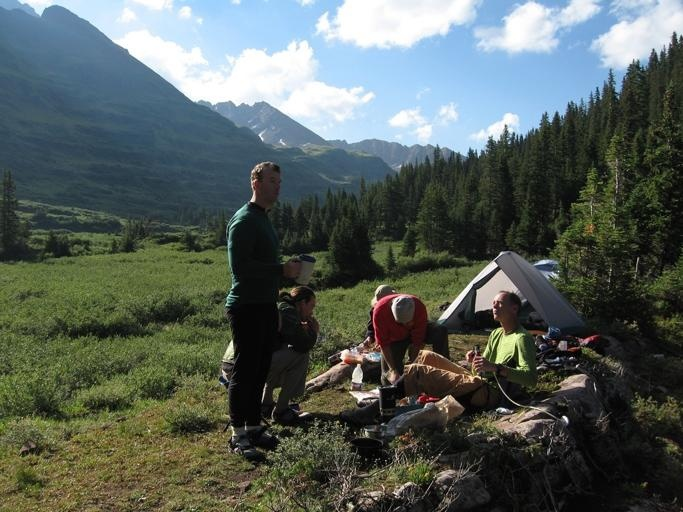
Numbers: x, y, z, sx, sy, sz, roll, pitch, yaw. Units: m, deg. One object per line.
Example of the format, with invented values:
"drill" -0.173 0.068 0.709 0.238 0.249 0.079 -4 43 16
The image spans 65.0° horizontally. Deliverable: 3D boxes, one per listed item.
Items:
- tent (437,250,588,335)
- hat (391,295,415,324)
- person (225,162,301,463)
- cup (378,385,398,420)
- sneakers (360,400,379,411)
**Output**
"tent" 4.443 1.065 14.020 2.737 1.621 2.655 -2 -5 17
"hat" 1.099 0.948 9.682 0.349 0.437 0.497 1 17 2
"person" -1.277 0.813 8.103 0.918 4.514 0.628 1 2 -13
"cup" 0.761 2.397 8.616 0.378 0.524 0.373 1 -11 0
"sneakers" 0.476 2.507 8.947 0.259 0.114 0.267 0 2 3
